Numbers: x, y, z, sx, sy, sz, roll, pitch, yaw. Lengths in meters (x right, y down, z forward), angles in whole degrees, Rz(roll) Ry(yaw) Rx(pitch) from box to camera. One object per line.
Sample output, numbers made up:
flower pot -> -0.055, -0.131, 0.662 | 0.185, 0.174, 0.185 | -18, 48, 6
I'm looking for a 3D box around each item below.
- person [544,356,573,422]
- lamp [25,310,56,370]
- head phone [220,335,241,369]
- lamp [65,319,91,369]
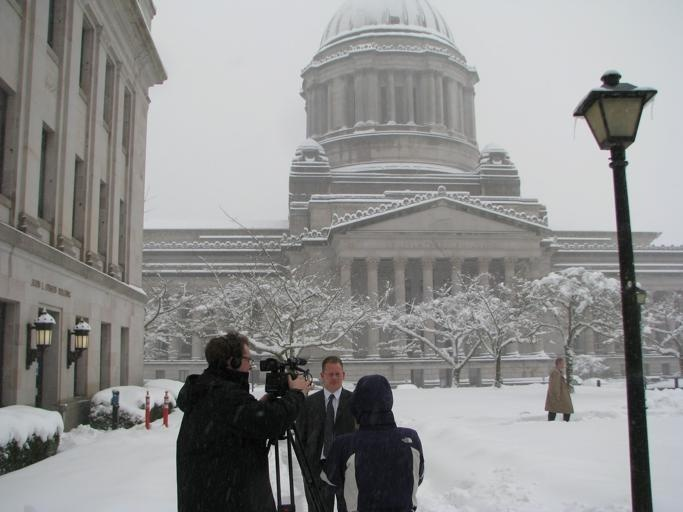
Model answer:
person -> 5.713, 3.499, 22.442 | 0.631, 1.720, 1.395 | -4, -12, 15
lamp -> -7.085, 1.918, 20.026 | 0.628, 1.302, 0.492 | 1, -1, -29
head phone -> -1.385, 1.239, 11.200 | 0.174, 0.386, 0.281 | -36, 16, -35
lamp -> -6.913, 2.257, 22.490 | 0.608, 1.254, 0.434 | 0, -7, -19
